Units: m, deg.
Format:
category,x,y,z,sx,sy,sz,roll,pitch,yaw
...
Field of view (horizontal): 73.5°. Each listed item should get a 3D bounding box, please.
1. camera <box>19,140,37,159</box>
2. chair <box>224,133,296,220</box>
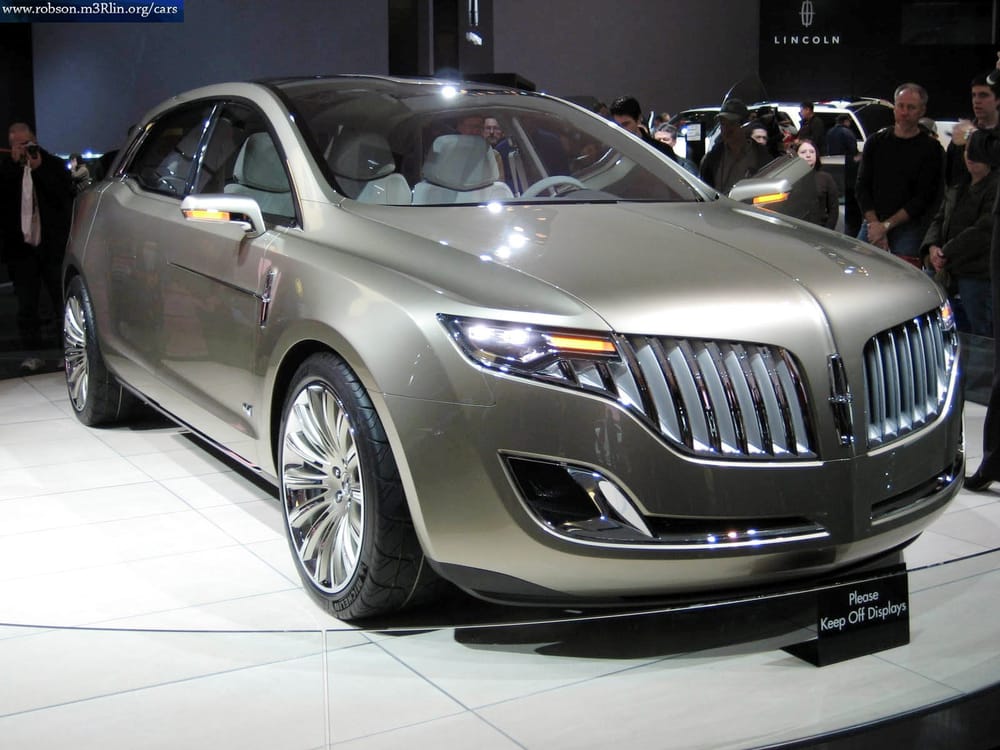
category,x,y,z,sx,sy,sz,roll,pitch,yaw
camera,-5.378,-2.573,7.661,0.146,0.202,0.165,19,8,-40
chair,-1.034,-0.868,2.956,0.198,0.311,0.269,-10,56,-19
